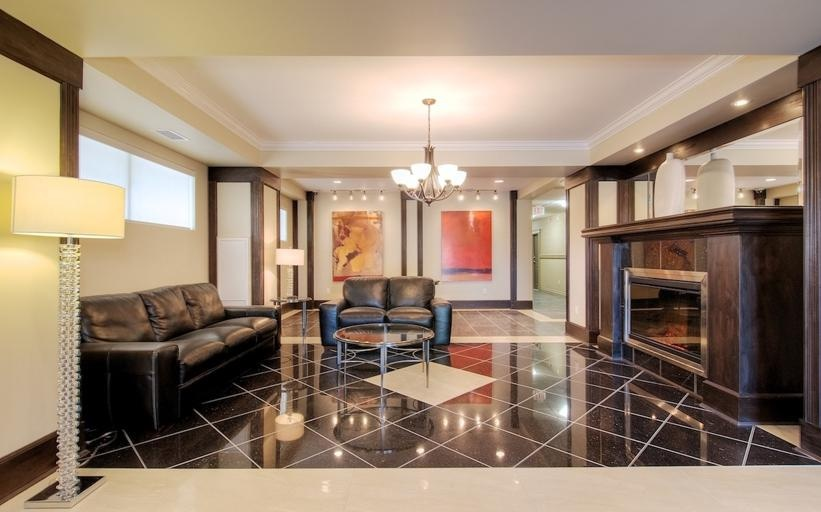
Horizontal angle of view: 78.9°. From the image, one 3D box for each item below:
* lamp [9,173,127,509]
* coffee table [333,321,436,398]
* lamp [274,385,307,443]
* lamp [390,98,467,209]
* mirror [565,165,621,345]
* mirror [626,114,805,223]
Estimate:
[{"bbox_3d":[-2.825,0.697,4.266,0.864,2.731,0.358,-4,4,-18],"label":"lamp"},{"bbox_3d":[-0.326,1.155,6.112,1.120,0.618,1.804,-3,3,-6],"label":"coffee table"},{"bbox_3d":[-1.226,1.631,5.088,0.290,0.194,0.982,3,-1,-11],"label":"lamp"},{"bbox_3d":[0.228,-1.306,6.866,1.404,1.595,1.292,0,1,-3],"label":"lamp"},{"bbox_3d":[2.615,-0.034,7.526,0.568,2.580,0.884,-5,4,-35],"label":"mirror"},{"bbox_3d":[3.445,-1.005,5.526,0.058,0.589,1.601,12,-8,-22],"label":"mirror"}]
